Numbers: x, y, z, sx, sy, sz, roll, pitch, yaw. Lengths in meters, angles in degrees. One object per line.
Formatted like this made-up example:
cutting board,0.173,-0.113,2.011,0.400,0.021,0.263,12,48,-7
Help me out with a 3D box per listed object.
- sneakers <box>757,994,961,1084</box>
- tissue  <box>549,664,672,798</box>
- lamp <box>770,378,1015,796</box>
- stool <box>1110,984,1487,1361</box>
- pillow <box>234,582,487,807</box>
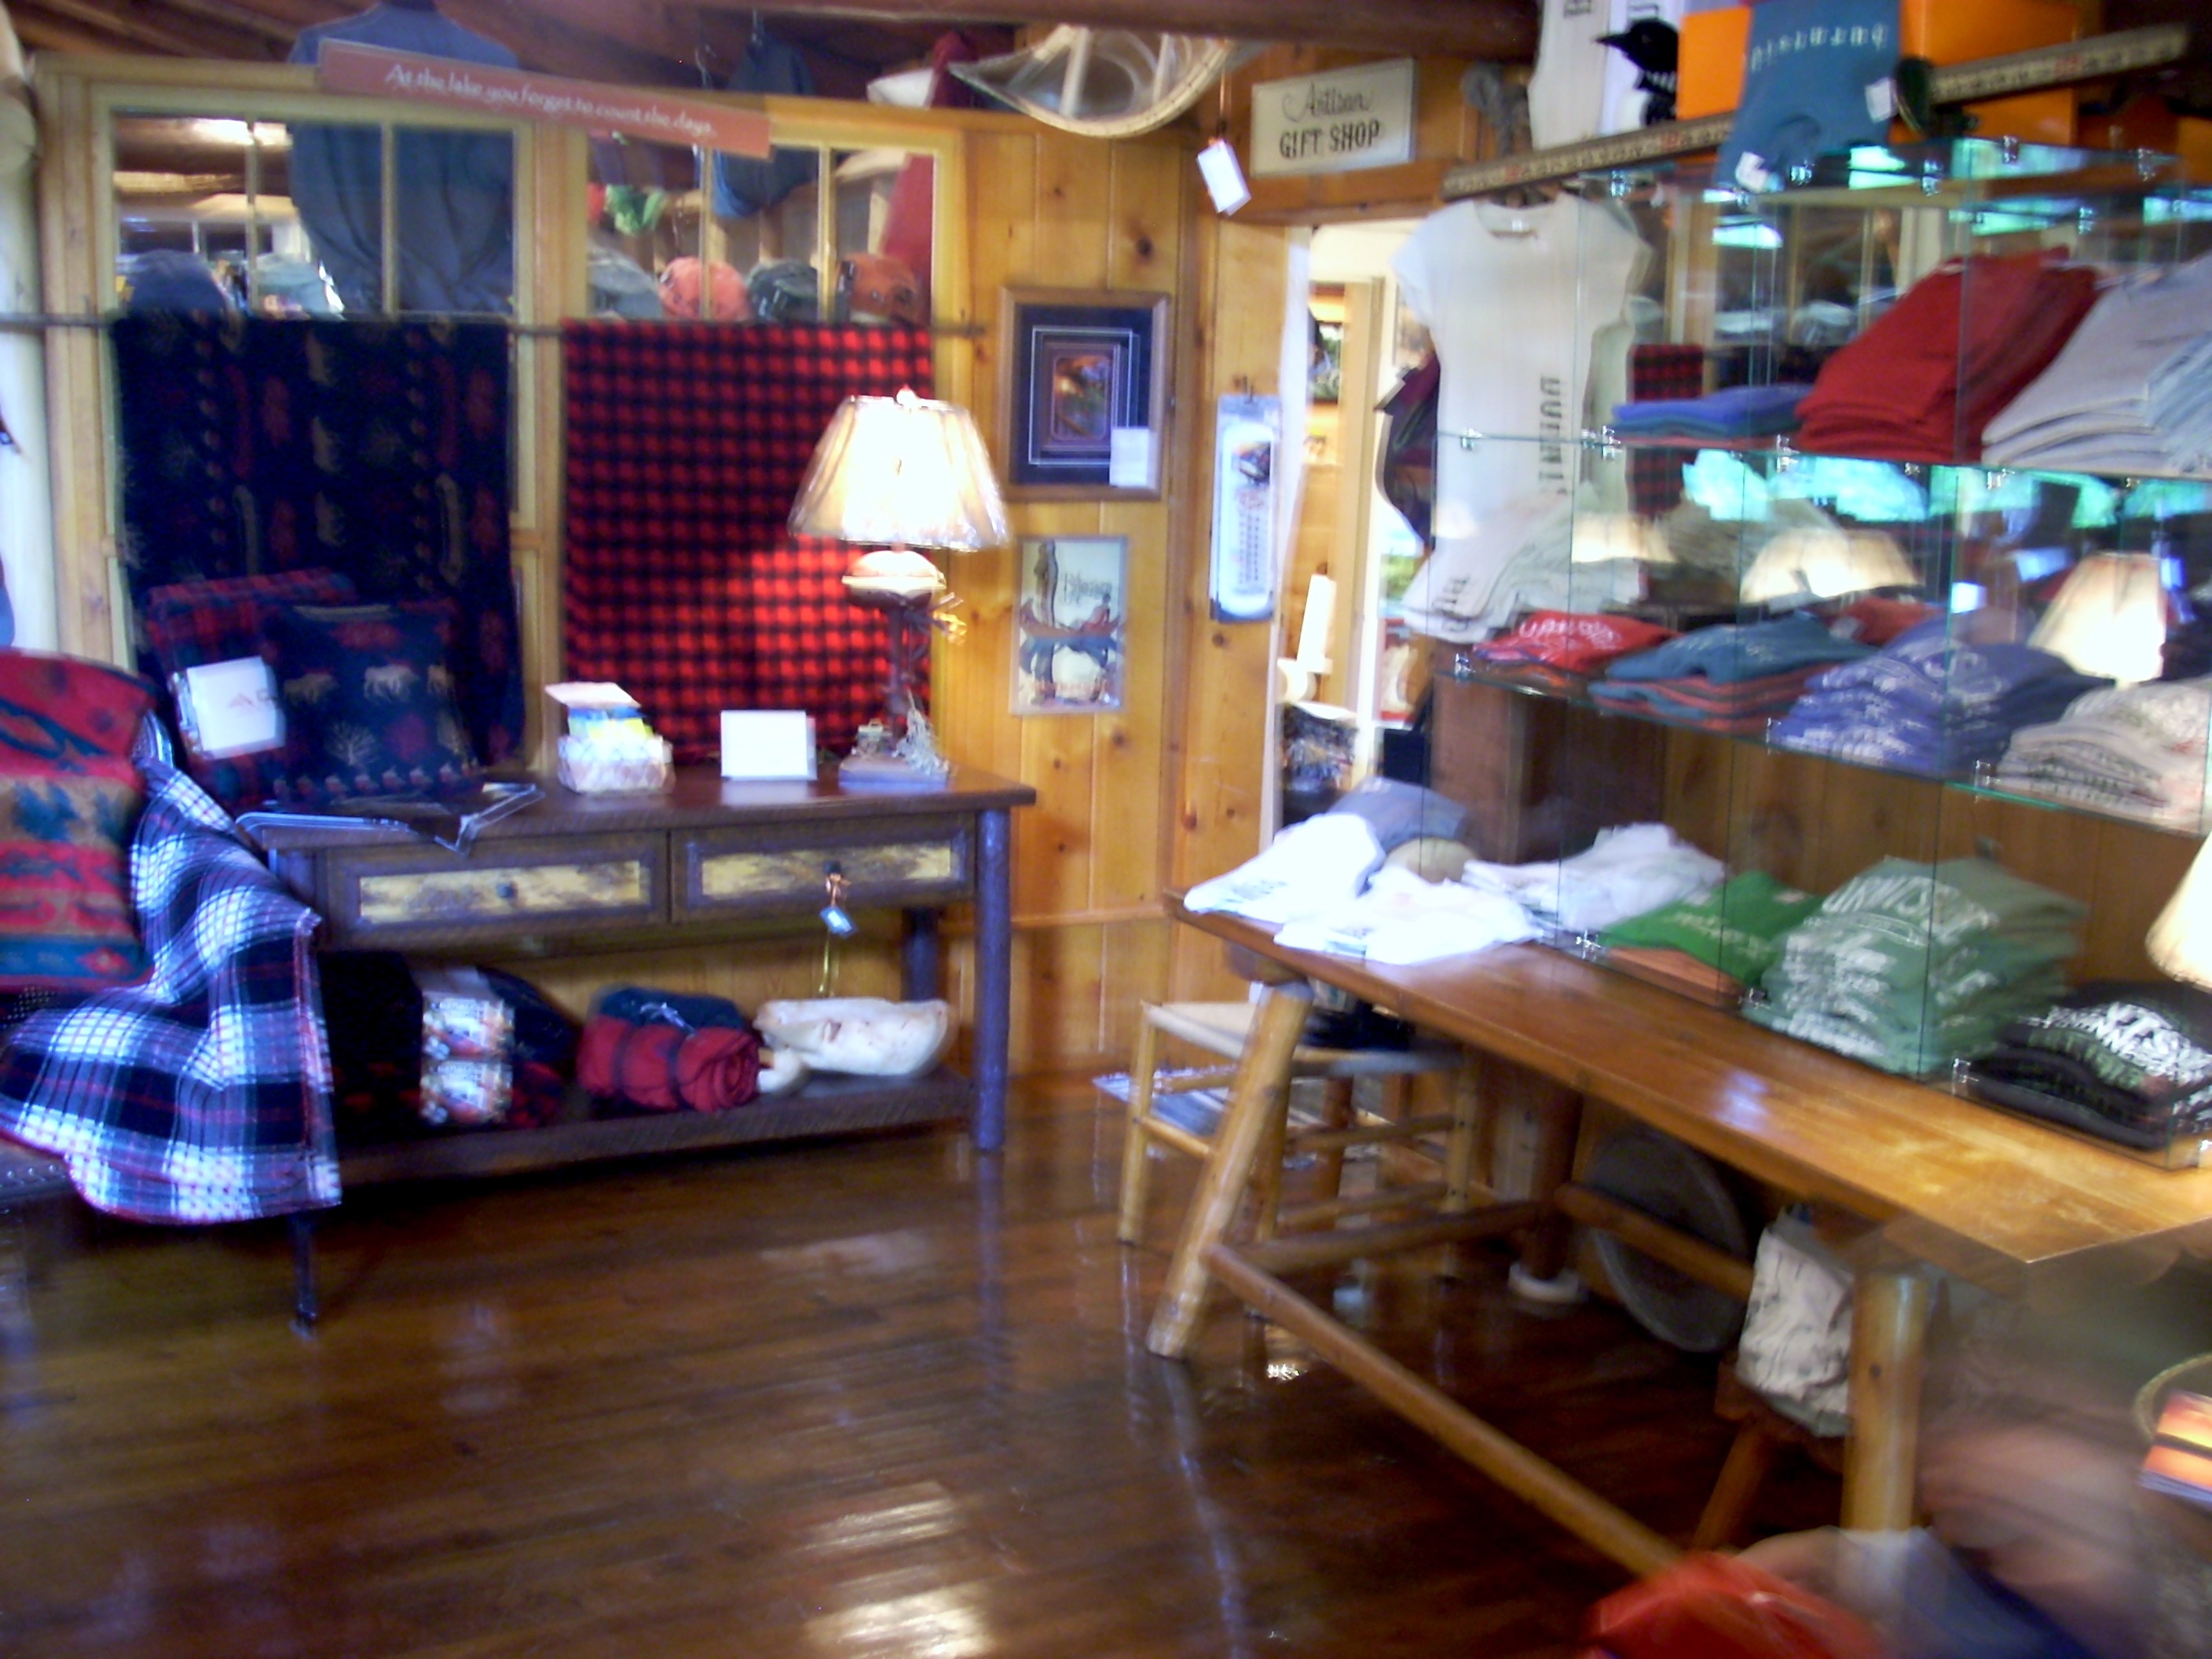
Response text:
sneakers,-0.640,0.515,4.278,0.379,0.132,0.227,4,5,0
tissue ,-1.210,-0.234,3.986,0.300,0.289,0.276,-2,7,-27
lamp,-0.570,-0.630,4.277,0.493,0.960,0.568,-8,16,-35
stool,0.424,0.649,3.624,0.717,1.084,0.794,1,1,-17
pillow,-1.772,-0.309,3.884,0.514,0.535,0.212,-7,-2,-40
